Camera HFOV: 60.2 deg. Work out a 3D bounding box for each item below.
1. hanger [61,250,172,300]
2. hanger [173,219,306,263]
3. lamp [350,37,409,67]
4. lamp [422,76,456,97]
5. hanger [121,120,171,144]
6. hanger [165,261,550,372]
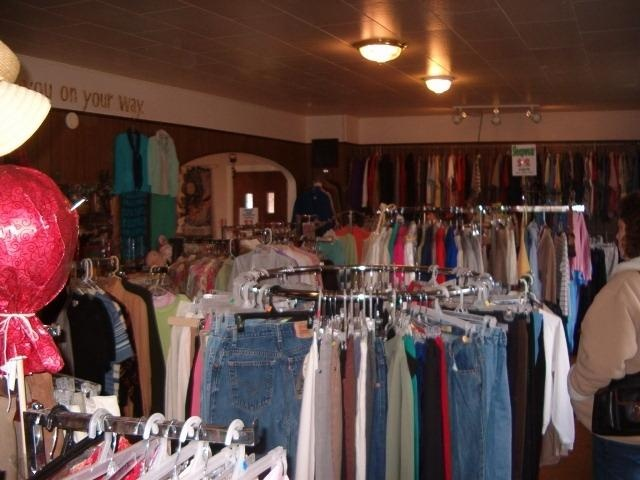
[{"bbox_3d":[-1.322,0.235,3.627,0.412,0.252,0.587,4,3,44],"label":"hanger"},{"bbox_3d":[-0.658,0.003,5.330,0.723,0.281,0.710,-3,4,-42],"label":"hanger"},{"bbox_3d":[0.523,-1.647,4.811,0.465,0.182,0.379,-2,0,1],"label":"lamp"},{"bbox_3d":[1.279,-1.701,5.961,0.300,0.183,0.249,-2,0,13],"label":"lamp"},{"bbox_3d":[-1.848,-1.209,5.936,0.090,0.141,0.642,-2,0,29],"label":"hanger"},{"bbox_3d":[0.209,0.264,2.455,1.042,0.304,0.889,-1,-1,4],"label":"hanger"}]
